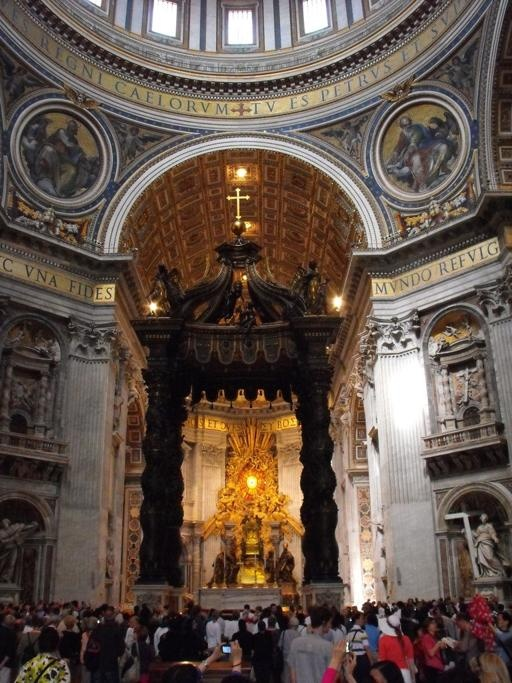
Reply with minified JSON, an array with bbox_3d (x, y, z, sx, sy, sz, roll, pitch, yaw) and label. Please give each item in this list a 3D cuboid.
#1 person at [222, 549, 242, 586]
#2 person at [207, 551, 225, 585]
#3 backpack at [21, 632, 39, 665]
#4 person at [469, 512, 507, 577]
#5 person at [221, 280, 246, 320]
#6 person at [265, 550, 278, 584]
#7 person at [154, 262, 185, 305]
[{"bbox_3d":[-1.059,9.498,26.736,0.561,1.337,0.643,-13,-23,22],"label":"person"},{"bbox_3d":[-1.673,9.470,26.662,0.753,1.372,0.771,0,-22,-10],"label":"person"},{"bbox_3d":[-1.913,2.558,5.314,0.135,0.234,0.291,4,-22,-19],"label":"backpack"},{"bbox_3d":[4.976,4.302,13.484,0.469,1.251,0.756,10,-25,-31],"label":"person"},{"bbox_3d":[-0.380,-0.706,10.221,0.305,0.543,0.762,-2,-21,-4],"label":"person"},{"bbox_3d":[0.644,9.459,26.883,0.474,1.332,0.422,2,-22,-13],"label":"person"},{"bbox_3d":[-1.348,-0.903,9.918,0.414,0.795,0.768,-1,-21,-6],"label":"person"}]
